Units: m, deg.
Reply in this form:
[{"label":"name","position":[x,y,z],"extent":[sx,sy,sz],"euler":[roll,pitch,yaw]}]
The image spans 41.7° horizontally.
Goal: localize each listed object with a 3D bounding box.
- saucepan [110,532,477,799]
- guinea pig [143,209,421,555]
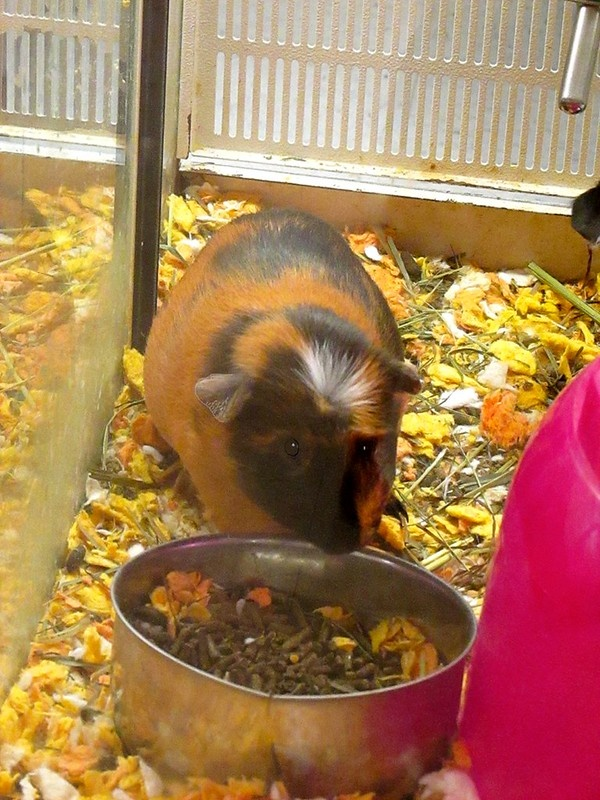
[{"label":"saucepan","position":[-0.032,0.265,0.778],"extent":[0.320,0.111,0.300],"euler":[20,20,40]},{"label":"guinea pig","position":[-0.017,-0.040,0.853],"extent":[0.291,0.241,0.403],"euler":[-8,32,-16]}]
